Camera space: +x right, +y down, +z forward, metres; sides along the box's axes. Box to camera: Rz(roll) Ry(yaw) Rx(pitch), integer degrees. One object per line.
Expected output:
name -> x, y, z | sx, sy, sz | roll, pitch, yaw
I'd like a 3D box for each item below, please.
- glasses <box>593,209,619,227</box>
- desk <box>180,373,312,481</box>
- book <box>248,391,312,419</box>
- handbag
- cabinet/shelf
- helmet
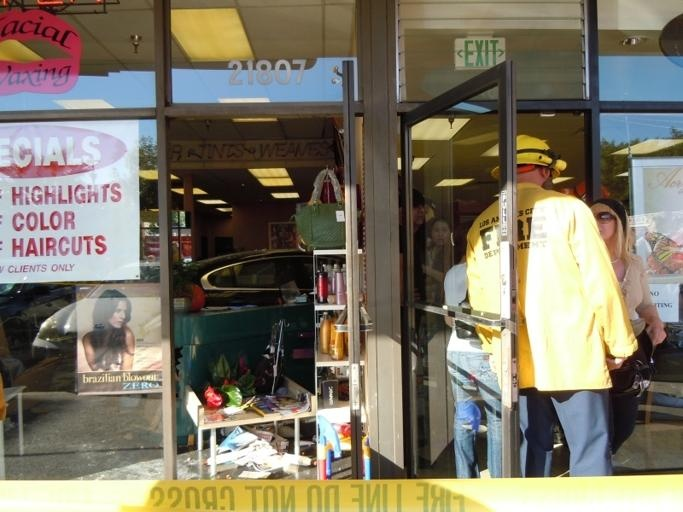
glasses -> 2.049, -0.315, 5.468 | 0.146, 0.044, 0.143 | 5, -22, 7
desk -> -0.778, 1.522, 6.312 | 1.049, 0.507, 0.859 | -4, 3, -12
book -> -0.547, 1.317, 6.277 | 0.463, 0.170, 0.539 | 1, 5, 8
handbag -> -0.189, -0.394, 5.911 | 0.501, 0.659, 0.404 | 0, 6, 3
cabinet/shelf -> -0.049, 0.832, 6.050 | 0.504, 1.758, 0.781 | -2, 7, -7
helmet -> 1.343, -0.711, 4.871 | 0.425, 0.326, 0.528 | 2, 8, 5
